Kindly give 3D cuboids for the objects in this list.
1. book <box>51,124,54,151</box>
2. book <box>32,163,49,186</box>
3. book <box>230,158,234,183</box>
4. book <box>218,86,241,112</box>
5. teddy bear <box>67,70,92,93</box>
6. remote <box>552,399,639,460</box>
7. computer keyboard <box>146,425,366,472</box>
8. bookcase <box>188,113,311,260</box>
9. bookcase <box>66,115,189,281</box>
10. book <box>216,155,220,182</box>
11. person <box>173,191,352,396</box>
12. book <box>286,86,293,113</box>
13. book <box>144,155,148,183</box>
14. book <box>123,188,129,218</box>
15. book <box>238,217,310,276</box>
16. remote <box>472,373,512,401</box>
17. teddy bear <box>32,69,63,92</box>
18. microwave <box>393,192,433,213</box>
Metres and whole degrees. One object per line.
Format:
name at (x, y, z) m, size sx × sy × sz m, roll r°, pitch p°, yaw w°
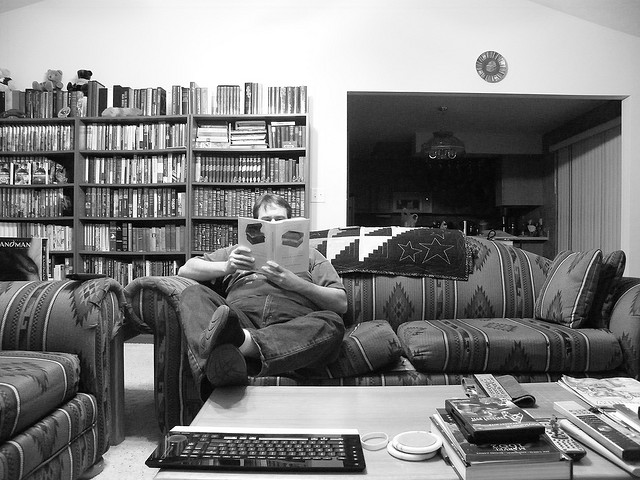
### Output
book at (-2.187, -0.841, 4.930) m, size 0.021 × 0.195 × 0.068 m, roll -4°, pitch 13°, yaw -12°
book at (-2.293, -0.555, 4.935) m, size 0.130 × 0.161 × 0.063 m, roll -1°, pitch 13°, yaw -1°
book at (-0.720, -0.583, 4.933) m, size 0.039 × 0.184 × 0.066 m, roll -3°, pitch 13°, yaw -9°
book at (-0.744, -1.162, 4.918) m, size 0.179 × 0.207 × 0.074 m, roll -3°, pitch 13°, yaw -10°
teddy bear at (-2.021, -1.346, 5.051) m, size 0.200 × 0.189 × 0.215 m, roll -5°, pitch 13°, yaw -17°
remote at (0.974, 0.674, 2.127) m, size 0.080 × 0.028 × 0.275 m, roll 0°, pitch 8°, yaw -10°
computer keyboard at (-0.210, 0.728, 2.086) m, size 0.726 × 0.073 × 0.192 m, roll -1°, pitch 13°, yaw 0°
bookcase at (-0.533, -0.420, 4.415) m, size 1.129 × 1.742 × 0.278 m, roll 0°, pitch -1°, yaw 0°
bookcase at (-1.536, -0.385, 4.721) m, size 0.993 × 1.340 × 0.225 m, roll 3°, pitch 2°, yaw 1°
book at (-0.835, -0.582, 4.929) m, size 0.030 × 0.184 × 0.058 m, roll -2°, pitch 13°, yaw -4°
person at (-0.241, 0.251, 2.842) m, size 0.668 × 0.623 × 0.948 m, roll 2°, pitch -2°, yaw 7°
book at (-0.245, -1.151, 4.903) m, size 0.056 × 0.201 × 0.047 m, roll -2°, pitch 13°, yaw -3°
book at (-1.430, -0.584, 4.946) m, size 0.034 × 0.153 × 0.149 m, roll 0°, pitch 0°, yaw -15°
book at (-1.598, -0.308, 4.959) m, size 0.039 × 0.175 × 0.169 m, roll 3°, pitch -4°, yaw -15°
book at (-0.226, 0.024, 2.970) m, size 0.335 × 0.272 × 0.111 m, roll -3°, pitch 13°, yaw -10°
remote at (0.692, 0.596, 2.407) m, size 0.138 × 0.027 × 0.244 m, roll -2°, pitch 9°, yaw -7°
teddy bear at (-2.297, -1.359, 5.076) m, size 0.246 × 0.182 × 0.185 m, roll -7°, pitch 14°, yaw -24°
microwave at (1.335, -0.550, 8.610) m, size 0.554 × 0.278 × 0.130 m, roll 1°, pitch 13°, yaw 7°
